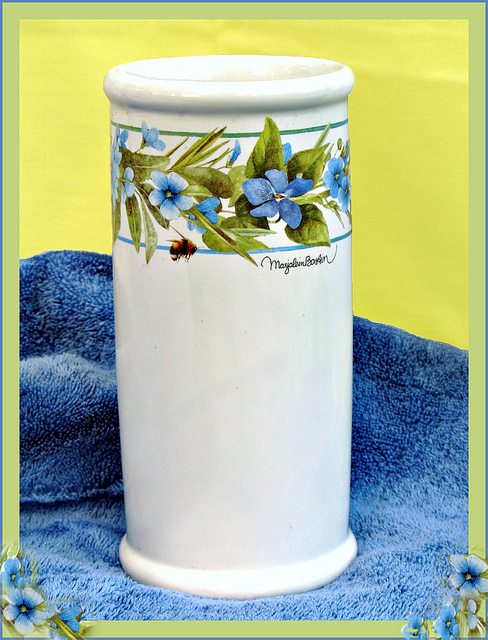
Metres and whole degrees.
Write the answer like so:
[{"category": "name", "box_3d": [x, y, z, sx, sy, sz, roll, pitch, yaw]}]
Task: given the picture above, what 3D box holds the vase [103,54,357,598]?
[{"category": "vase", "box_3d": [-0.007, -0.023, 0.806, 0.291, 0.489, 0.316, -3, 12, -11]}]
